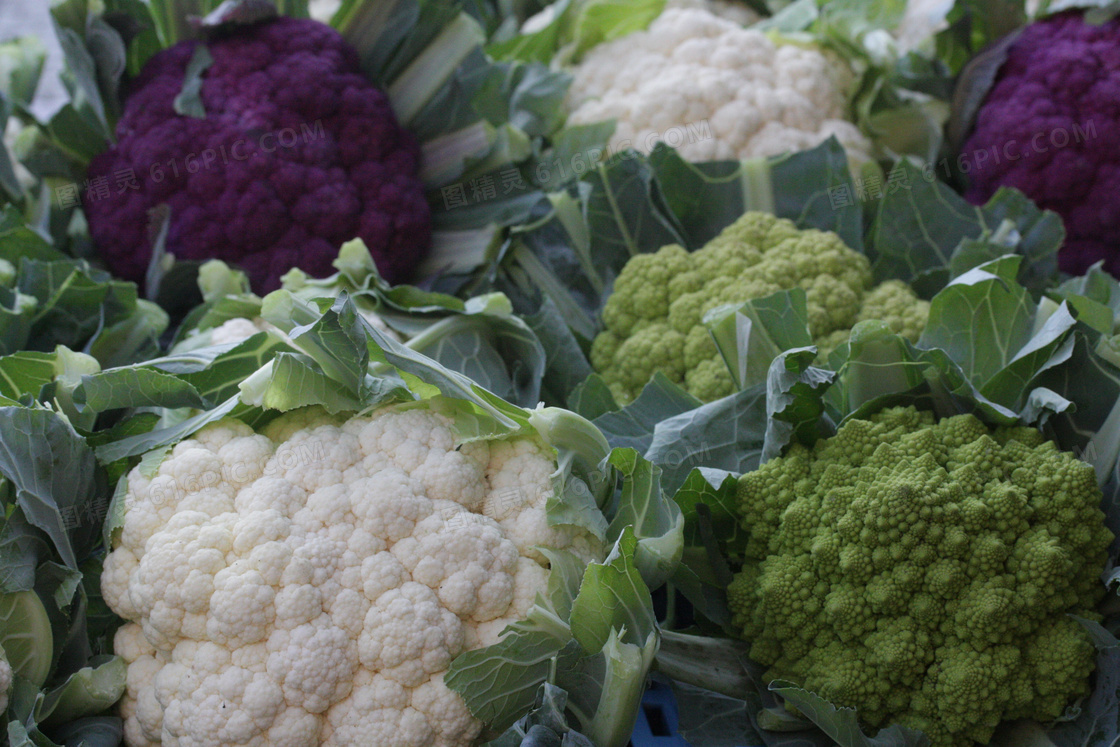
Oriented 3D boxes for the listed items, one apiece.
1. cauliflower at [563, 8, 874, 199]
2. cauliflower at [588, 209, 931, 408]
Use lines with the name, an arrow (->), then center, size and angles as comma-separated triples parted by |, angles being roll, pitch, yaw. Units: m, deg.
cauliflower -> 0.409, -0.771, 3.324 | 0.772, 0.356, 0.419 | -10, 34, 14
cauliflower -> 0.434, -0.198, 3.023 | 0.557, 0.269, 0.574 | -5, 26, 46
